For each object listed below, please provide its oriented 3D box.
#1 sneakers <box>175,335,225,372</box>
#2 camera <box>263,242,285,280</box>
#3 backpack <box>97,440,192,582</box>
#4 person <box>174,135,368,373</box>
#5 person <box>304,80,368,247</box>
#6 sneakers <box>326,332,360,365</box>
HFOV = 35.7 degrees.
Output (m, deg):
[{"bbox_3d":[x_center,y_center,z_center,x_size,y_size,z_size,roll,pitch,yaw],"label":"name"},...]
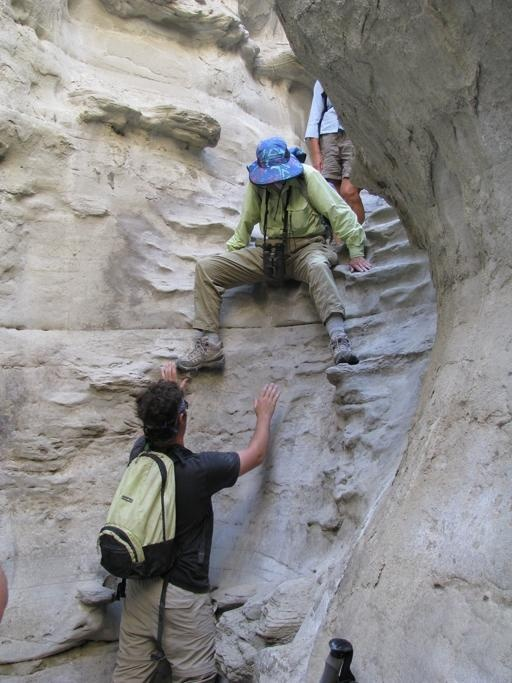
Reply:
[{"bbox_3d":[-0.244,0.048,3.612,0.281,0.181,0.108,-4,21,-11],"label":"sneakers"},{"bbox_3d":[0.084,-0.380,3.756,0.103,0.161,0.164,2,4,2],"label":"camera"},{"bbox_3d":[-0.371,0.570,2.574,0.195,0.389,0.216,3,5,20],"label":"backpack"},{"bbox_3d":[0.124,-0.418,3.665,0.882,0.985,0.999,-12,10,-40],"label":"person"},{"bbox_3d":[0.516,-1.165,4.673,0.419,0.987,0.255,-3,-7,5],"label":"person"},{"bbox_3d":[0.369,0.034,3.284,0.065,0.070,0.170,-21,15,5],"label":"sneakers"}]
